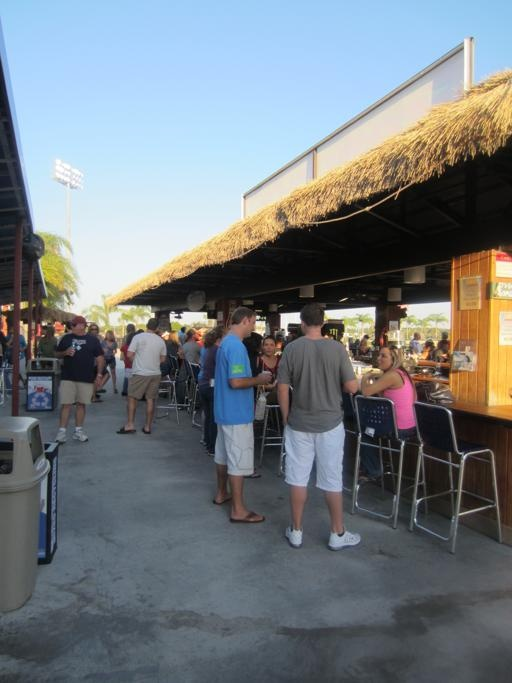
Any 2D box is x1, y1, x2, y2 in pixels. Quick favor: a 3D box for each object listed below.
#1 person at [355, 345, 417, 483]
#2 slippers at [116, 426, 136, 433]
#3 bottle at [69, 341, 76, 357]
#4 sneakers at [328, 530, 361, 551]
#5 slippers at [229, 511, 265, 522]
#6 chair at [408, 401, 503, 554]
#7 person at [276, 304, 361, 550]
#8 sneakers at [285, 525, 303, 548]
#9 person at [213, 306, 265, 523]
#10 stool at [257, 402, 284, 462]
[{"bbox_3d":[1.318,0.535,4.667,0.369,1.076,0.559,-24,16,-35],"label":"person"},{"bbox_3d":[-2.030,1.371,7.924,0.295,0.121,0.110,3,-3,11],"label":"slippers"},{"bbox_3d":[-2.421,0.093,6.753,0.062,0.158,0.071,2,-1,-9],"label":"bottle"},{"bbox_3d":[0.633,1.438,3.740,0.260,0.112,0.100,-4,4,-34],"label":"sneakers"},{"bbox_3d":[-0.072,1.416,4.164,0.214,0.066,0.106,0,-1,-9],"label":"slippers"},{"bbox_3d":[1.512,1.011,4.170,0.630,1.050,1.231,2,-1,-11],"label":"chair"},{"bbox_3d":[0.444,0.602,3.719,0.623,1.773,0.386,2,-1,12],"label":"person"},{"bbox_3d":[0.286,1.419,3.734,0.070,0.082,0.182,1,0,-3],"label":"sneakers"},{"bbox_3d":[-0.137,0.597,4.307,0.441,1.214,0.671,2,-1,-3],"label":"person"},{"bbox_3d":[0.257,1.317,7.271,0.427,0.550,0.431,-3,-7,10],"label":"stool"}]
